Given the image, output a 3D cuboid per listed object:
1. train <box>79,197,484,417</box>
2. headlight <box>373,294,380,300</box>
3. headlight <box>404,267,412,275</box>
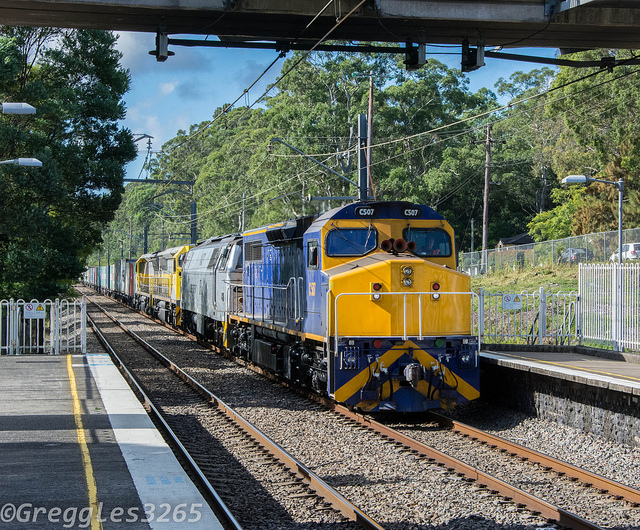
[{"bbox_3d":[-2.923,0.304,30.017,4.127,4.808,32.527,4,2,-20],"label":"train"},{"bbox_3d":[1.074,0.604,14.762,0.122,0.097,0.042,1,2,-21],"label":"headlight"},{"bbox_3d":[1.690,0.118,14.873,0.154,0.131,0.031,1,2,-24],"label":"headlight"}]
